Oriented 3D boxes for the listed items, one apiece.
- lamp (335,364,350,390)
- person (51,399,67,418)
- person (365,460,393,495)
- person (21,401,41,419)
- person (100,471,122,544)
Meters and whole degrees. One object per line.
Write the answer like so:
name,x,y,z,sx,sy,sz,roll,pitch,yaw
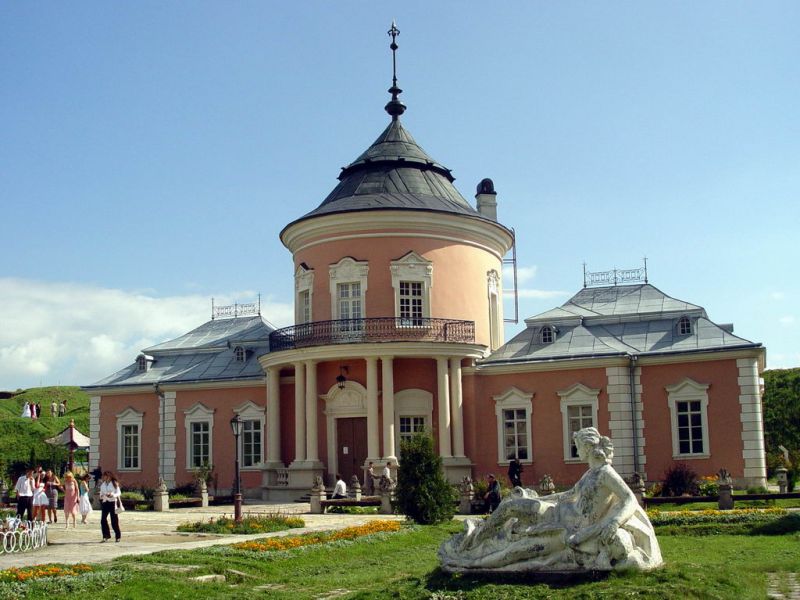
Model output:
lamp,-2.009,2.624,39.965,0.440,0.859,0.553,-6,-11,17
person,-20.339,6.447,68.850,0.830,1.629,0.525,-1,-28,-12
person,-0.653,5.755,37.134,1.059,1.083,0.892,-1,-3,20
person,-21.423,6.352,67.020,0.576,0.867,0.842,0,-15,6
person,-7.198,5.131,28.823,0.476,1.725,1.254,0,-11,-14
